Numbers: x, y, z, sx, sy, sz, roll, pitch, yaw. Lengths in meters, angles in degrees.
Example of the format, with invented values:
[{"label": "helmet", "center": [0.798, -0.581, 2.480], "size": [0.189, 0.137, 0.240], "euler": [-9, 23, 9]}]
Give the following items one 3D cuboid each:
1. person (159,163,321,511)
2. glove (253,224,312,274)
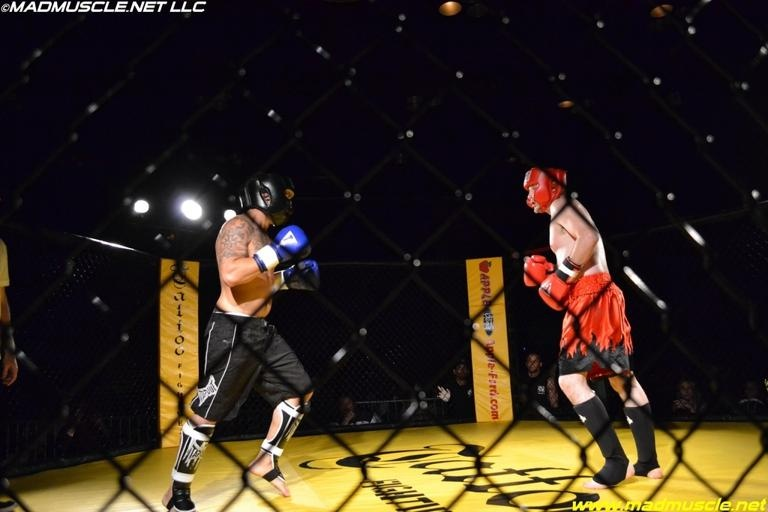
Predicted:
[{"label": "person", "center": [-0.893, 0.546, 4.371], "size": [0.720, 2.267, 0.945], "euler": [0, -10, 28]}, {"label": "glove", "center": [-0.671, -0.034, 4.327], "size": [0.237, 0.150, 0.414], "euler": [23, 31, 18]}]
